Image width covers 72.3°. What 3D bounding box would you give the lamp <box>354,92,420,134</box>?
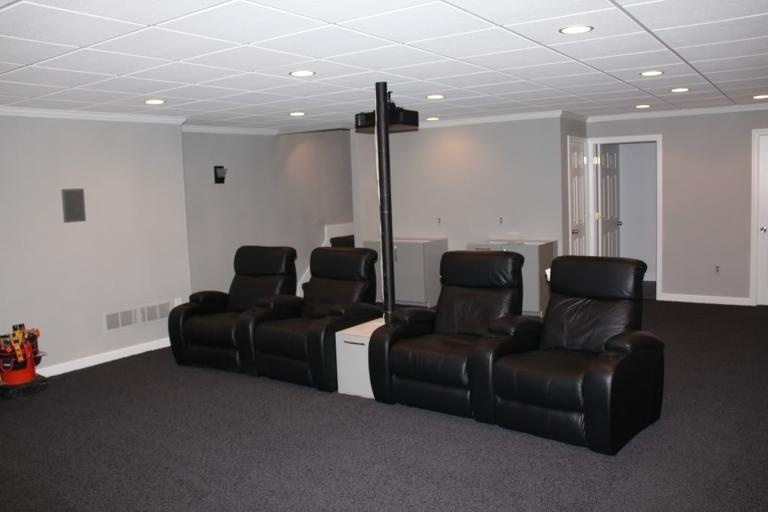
[{"bbox_3d":[0.139,-1.512,5.833,0.403,0.240,0.699,-9,12,-43],"label":"lamp"}]
